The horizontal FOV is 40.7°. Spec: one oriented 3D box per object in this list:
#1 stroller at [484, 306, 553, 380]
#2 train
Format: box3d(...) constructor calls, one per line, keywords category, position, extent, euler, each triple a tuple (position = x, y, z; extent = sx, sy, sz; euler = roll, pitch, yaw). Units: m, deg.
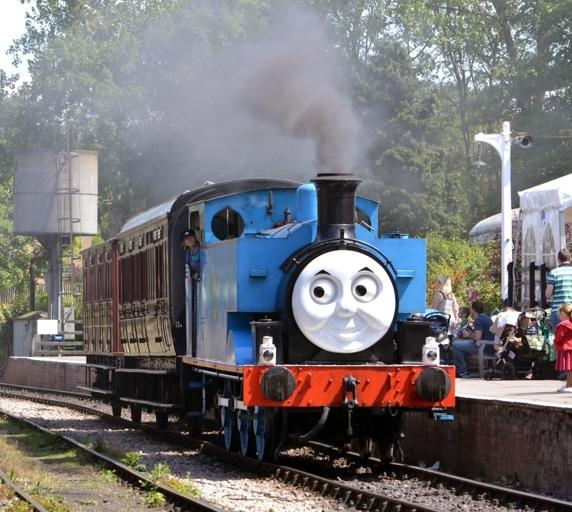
box3d(category="stroller", position=(4.072, 1.405, 14.139), extent=(0.719, 0.963, 0.877), euler=(-13, 8, -41))
box3d(category="train", position=(-1.263, 0.961, 13.332), extent=(2.492, 3.638, 9.870), euler=(3, -7, -26))
